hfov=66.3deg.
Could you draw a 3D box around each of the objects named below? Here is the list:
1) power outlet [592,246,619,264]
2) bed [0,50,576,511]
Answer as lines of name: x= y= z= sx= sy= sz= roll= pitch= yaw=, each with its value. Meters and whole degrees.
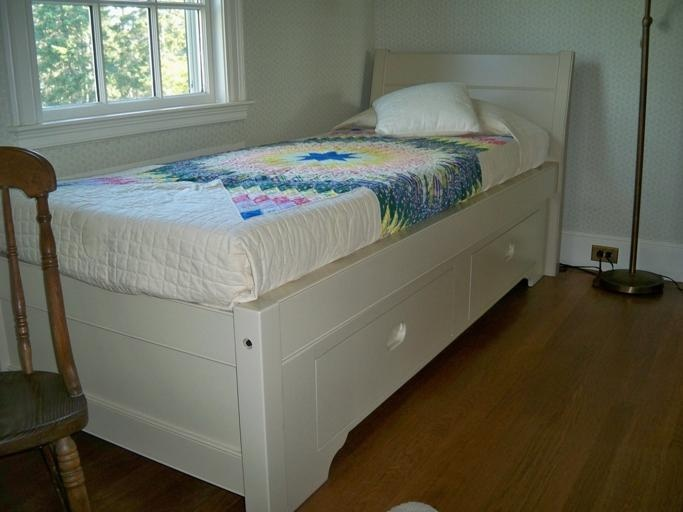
power outlet: x=1.652 y=-0.011 z=3.290 sx=0.157 sy=0.105 sz=0.040 roll=4 pitch=18 yaw=20
bed: x=0.049 y=0.029 z=2.748 sx=1.539 sy=1.721 sz=2.733 roll=10 pitch=18 yaw=35
